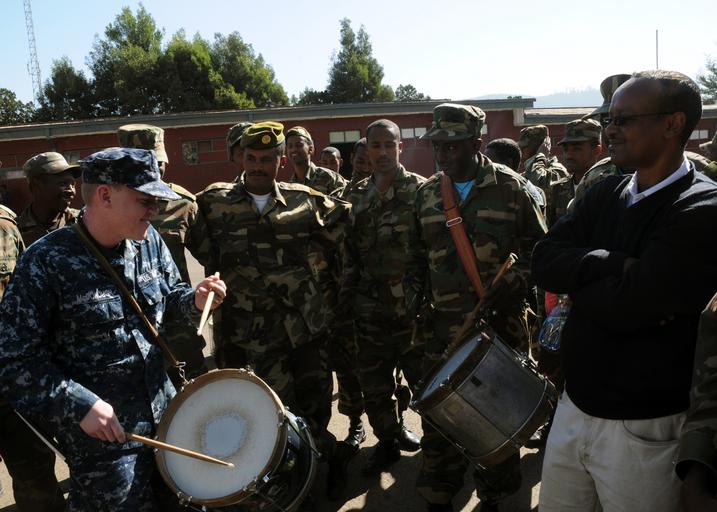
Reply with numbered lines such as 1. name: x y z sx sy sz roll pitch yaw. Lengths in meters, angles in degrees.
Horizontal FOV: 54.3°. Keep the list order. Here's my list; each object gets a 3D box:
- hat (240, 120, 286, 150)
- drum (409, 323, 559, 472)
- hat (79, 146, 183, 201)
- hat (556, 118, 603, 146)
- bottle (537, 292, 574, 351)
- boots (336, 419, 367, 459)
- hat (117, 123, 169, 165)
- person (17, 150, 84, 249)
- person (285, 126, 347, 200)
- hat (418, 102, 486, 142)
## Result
1. hat: -0.750 -0.932 5.422 0.320 0.212 0.339 -5 11 -3
2. drum: 0.797 0.891 4.621 0.724 0.825 0.917 23 -2 -21
3. hat: -1.310 -0.503 4.031 0.625 0.214 0.402 10 15 -4
4. hat: 2.310 -1.290 7.281 0.375 0.181 0.265 0 18 7
5. bottle: 1.228 0.395 4.322 0.163 0.362 0.150 11 16 -3
6. boots: -0.057 1.535 6.042 0.168 0.259 0.470 -1 8 19
7. hat: -1.875 -0.990 6.185 0.502 0.286 0.373 10 13 19
8. person: -2.625 -0.495 5.952 0.548 0.723 0.772 6 8 16
9. person: -0.644 -1.098 8.385 1.173 0.830 0.546 -1 6 29
10. hat: 0.716 -0.988 5.172 0.405 0.193 0.296 -2 13 -5
